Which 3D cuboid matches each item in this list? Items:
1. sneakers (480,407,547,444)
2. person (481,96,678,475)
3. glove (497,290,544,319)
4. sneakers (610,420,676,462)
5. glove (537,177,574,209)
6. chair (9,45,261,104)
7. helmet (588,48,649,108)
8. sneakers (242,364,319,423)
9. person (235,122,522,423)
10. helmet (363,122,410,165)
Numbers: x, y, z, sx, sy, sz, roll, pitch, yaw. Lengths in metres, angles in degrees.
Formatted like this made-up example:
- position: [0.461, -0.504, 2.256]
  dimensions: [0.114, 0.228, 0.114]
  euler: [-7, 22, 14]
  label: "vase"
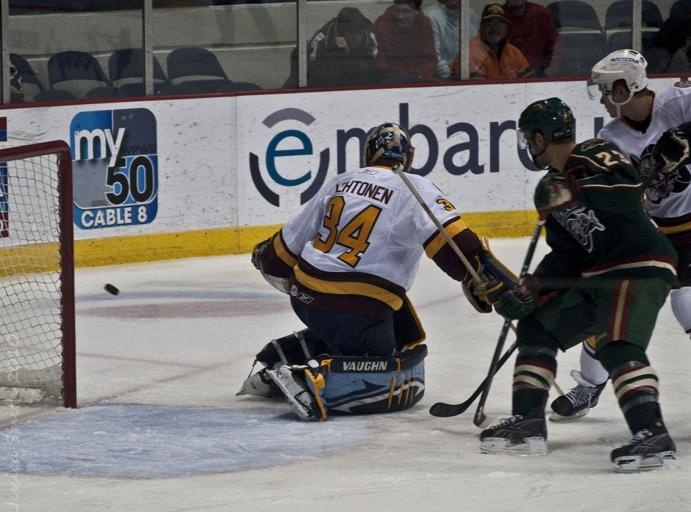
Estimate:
- position: [0.717, 0.718, 5.101]
  dimensions: [0.324, 0.129, 0.101]
  euler: [-11, -7, 37]
  label: "sneakers"
- position: [1.014, 0.185, 4.973]
  dimensions: [0.822, 1.277, 0.539]
  euler: [8, 18, 29]
  label: "person"
- position: [0.742, 0.193, 5.105]
  dimensions: [0.174, 0.066, 0.114]
  euler: [-22, 43, -15]
  label: "glove"
- position: [1.235, 0.748, 4.856]
  dimensions: [0.130, 0.156, 0.300]
  euler: [-3, -11, -40]
  label: "sneakers"
- position: [0.842, -0.249, 4.911]
  dimensions: [0.155, 0.151, 0.083]
  euler: [1, 16, 6]
  label: "glove"
- position: [-1.622, -1.346, 8.929]
  dimensions: [1.739, 0.349, 0.226]
  euler: [-7, 16, -29]
  label: "chair"
- position: [1.263, -0.834, 5.725]
  dimensions: [0.321, 0.235, 0.218]
  euler: [-2, 21, -9]
  label: "helmet"
- position: [-0.272, 0.633, 5.520]
  dimensions: [0.376, 0.118, 0.258]
  euler: [11, 30, -9]
  label: "sneakers"
- position: [0.093, 0.047, 5.733]
  dimensions: [1.139, 1.289, 1.673]
  euler: [-12, 15, -43]
  label: "person"
- position: [0.193, -0.504, 5.780]
  dimensions: [0.226, 0.204, 0.230]
  euler: [4, -8, -13]
  label: "helmet"
